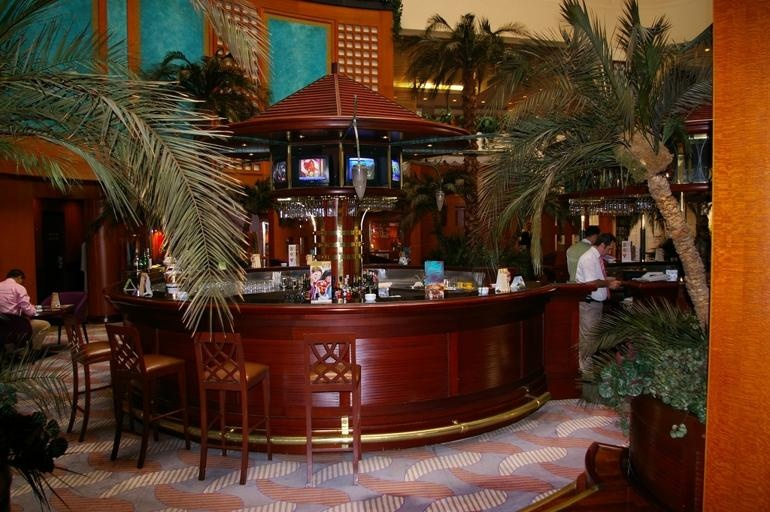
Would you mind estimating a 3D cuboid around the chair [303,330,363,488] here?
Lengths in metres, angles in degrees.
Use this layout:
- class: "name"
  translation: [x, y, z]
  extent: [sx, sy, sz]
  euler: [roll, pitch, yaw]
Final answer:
- class: "chair"
  translation: [-0.539, 1.415, 6.109]
  extent: [0.608, 1.445, 0.954]
  euler: [-1, 9, -3]

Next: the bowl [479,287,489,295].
- class: "bowl"
  translation: [1.242, 0.439, 7.610]
  extent: [0.097, 0.071, 0.095]
  euler: [1, 5, 0]

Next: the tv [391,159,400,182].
- class: "tv"
  translation: [0.154, -1.284, 8.982]
  extent: [0.082, 0.313, 0.272]
  euler: [4, 10, 24]

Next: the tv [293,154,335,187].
- class: "tv"
  translation: [-0.995, -1.194, 8.675]
  extent: [0.732, 0.596, 0.391]
  euler: [0, -4, 3]

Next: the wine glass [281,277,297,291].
- class: "wine glass"
  translation: [-1.563, 0.468, 9.741]
  extent: [0.241, 0.249, 0.263]
  euler: [0, 0, 6]

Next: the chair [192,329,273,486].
- class: "chair"
  translation: [-1.545, 1.399, 6.138]
  extent: [0.765, 1.489, 1.081]
  euler: [-3, 9, -16]
